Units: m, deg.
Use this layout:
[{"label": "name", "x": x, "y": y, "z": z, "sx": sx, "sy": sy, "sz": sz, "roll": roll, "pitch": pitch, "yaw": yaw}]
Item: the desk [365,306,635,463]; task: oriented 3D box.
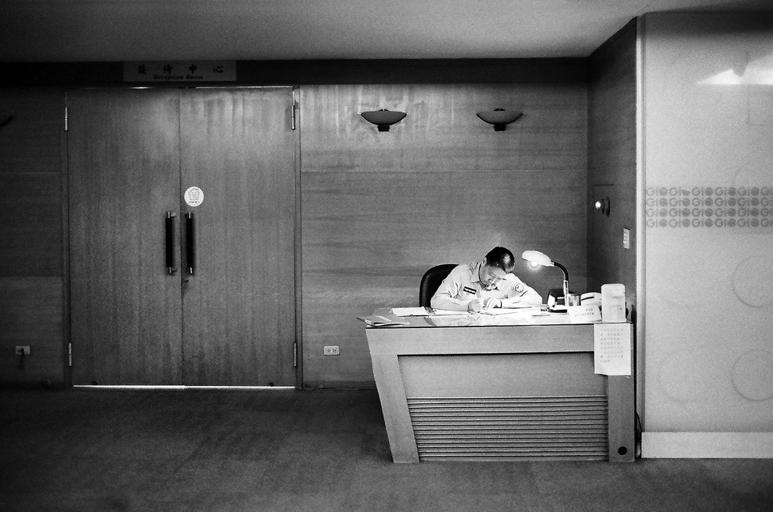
[{"label": "desk", "x": 1.257, "y": 1.116, "z": 6.036, "sx": 2.311, "sy": 1.161, "sz": 1.398, "roll": -9, "pitch": -3, "yaw": 32}]

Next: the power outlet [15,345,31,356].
[{"label": "power outlet", "x": -3.691, "y": 0.961, "z": 7.070, "sx": 0.179, "sy": 0.119, "sz": 0.095, "roll": 2, "pitch": 6, "yaw": -2}]

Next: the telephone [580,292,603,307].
[{"label": "telephone", "x": 1.653, "y": 0.343, "z": 5.634, "sx": 0.121, "sy": 0.084, "sz": 0.123, "roll": 2, "pitch": 4, "yaw": 40}]

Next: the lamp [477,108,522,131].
[{"label": "lamp", "x": 1.134, "y": -1.358, "z": 6.928, "sx": 0.470, "sy": 0.221, "sz": 0.179, "roll": 1, "pitch": 14, "yaw": 8}]
